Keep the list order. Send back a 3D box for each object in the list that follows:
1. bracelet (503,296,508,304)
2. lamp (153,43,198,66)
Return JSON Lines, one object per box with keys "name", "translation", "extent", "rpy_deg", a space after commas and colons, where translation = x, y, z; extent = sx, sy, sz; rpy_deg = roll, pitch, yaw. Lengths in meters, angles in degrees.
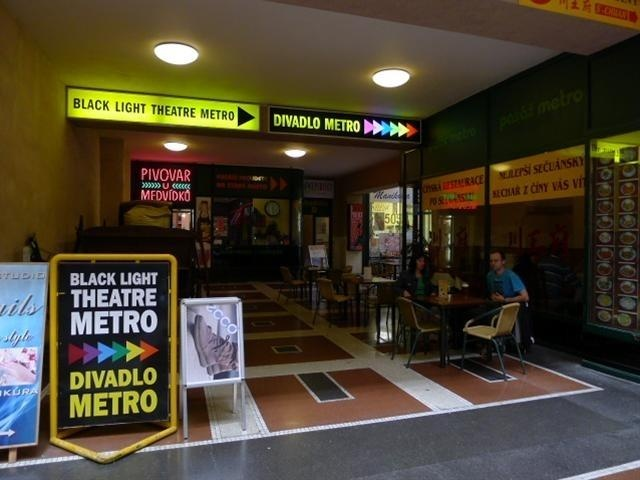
{"name": "bracelet", "translation": [2.486, 0.808, 7.064], "extent": [0.087, 0.096, 0.065], "rpy_deg": [-1, -5, 10]}
{"name": "lamp", "translation": [-1.780, -2.356, 6.742], "extent": [0.503, 0.189, 0.640], "rpy_deg": [1, 6, 8]}
